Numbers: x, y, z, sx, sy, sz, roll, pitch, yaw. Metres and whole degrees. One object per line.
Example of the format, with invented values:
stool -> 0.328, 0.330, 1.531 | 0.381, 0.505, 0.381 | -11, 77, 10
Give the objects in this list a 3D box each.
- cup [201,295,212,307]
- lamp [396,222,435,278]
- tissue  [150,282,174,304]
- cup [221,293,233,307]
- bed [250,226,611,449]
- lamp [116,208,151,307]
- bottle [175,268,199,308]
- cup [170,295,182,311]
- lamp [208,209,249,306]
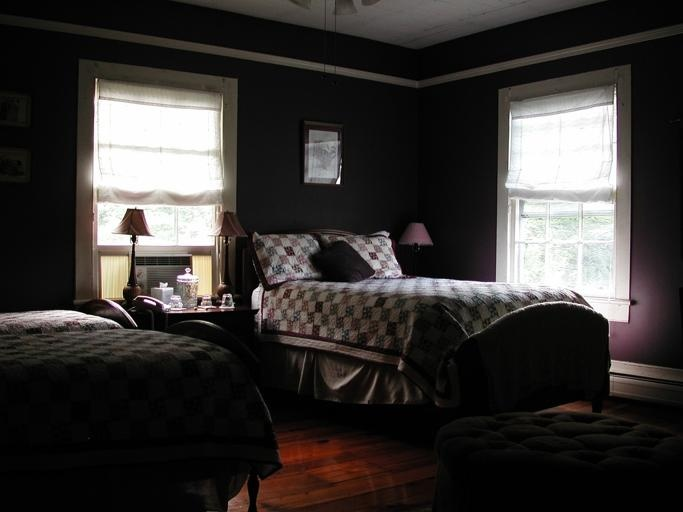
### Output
cup -> -1.220, 0.411, 5.224 | 0.130, 0.122, 0.095 | -1, 4, -33
lamp -> 0.856, -0.024, 6.511 | 0.355, 0.657, 0.355 | 2, 2, -42
tissue  -> -1.565, 0.327, 5.096 | 0.188, 0.194, 0.189 | 2, 2, 40
cup -> -1.025, 0.405, 5.130 | 0.106, 0.119, 0.105 | -1, -2, 0
bed -> 0.612, 0.634, 4.462 | 1.590, 1.170, 1.947 | 0, -2, -40
lamp -> -1.802, 0.001, 4.945 | 0.273, 0.827, 0.424 | 0, 2, -21
bottle -> -1.405, 0.281, 5.180 | 0.185, 0.329, 0.350 | 0, 2, -16
cup -> -1.428, 0.405, 4.929 | 0.117, 0.117, 0.084 | -1, 2, -28
lamp -> -1.060, -0.019, 5.409 | 0.288, 0.834, 0.487 | 0, 2, -13
